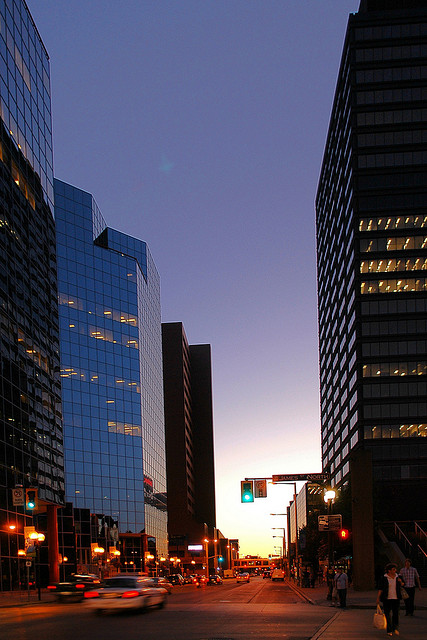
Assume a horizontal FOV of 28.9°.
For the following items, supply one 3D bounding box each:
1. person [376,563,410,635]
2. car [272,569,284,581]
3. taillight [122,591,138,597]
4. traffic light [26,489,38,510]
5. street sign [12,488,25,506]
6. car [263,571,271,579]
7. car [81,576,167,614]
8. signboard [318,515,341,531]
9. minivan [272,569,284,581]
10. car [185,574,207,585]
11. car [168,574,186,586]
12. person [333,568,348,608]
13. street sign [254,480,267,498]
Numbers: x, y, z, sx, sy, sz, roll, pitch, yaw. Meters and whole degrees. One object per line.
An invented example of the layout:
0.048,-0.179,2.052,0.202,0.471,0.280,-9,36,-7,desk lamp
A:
3.965,6.156,18.418,0.603,1.600,2.166,-5,-21,11,person
9.532,37.551,121.763,1.134,1.598,2.448,0,-12,5,car
-2.780,9.173,27.697,0.143,0.213,0.767,-12,-25,27,taillight
-8.654,8.444,39.517,0.402,0.907,0.993,2,-21,-8,traffic light
-10.073,9.107,42.999,0.603,0.880,0.808,4,-21,-15,street sign
10.018,47.774,154.400,1.234,1.210,2.362,1,-7,2,car
-2.888,9.357,28.776,1.174,1.168,3.752,-2,-13,11,car
5.587,9.673,39.635,0.747,0.821,1.573,4,-23,-14,signboard
9.520,37.550,121.761,1.134,1.598,2.448,0,-12,5,minivan
-2.096,31.153,99.295,1.427,0.837,2.636,0,-6,0,car
-4.024,28.497,90.516,1.182,1.373,2.330,0,0,4,car
4.984,10.483,32.129,0.373,1.380,1.278,-3,-20,7,person
2.549,9.041,44.832,0.671,0.989,1.376,-1,-21,0,street sign
